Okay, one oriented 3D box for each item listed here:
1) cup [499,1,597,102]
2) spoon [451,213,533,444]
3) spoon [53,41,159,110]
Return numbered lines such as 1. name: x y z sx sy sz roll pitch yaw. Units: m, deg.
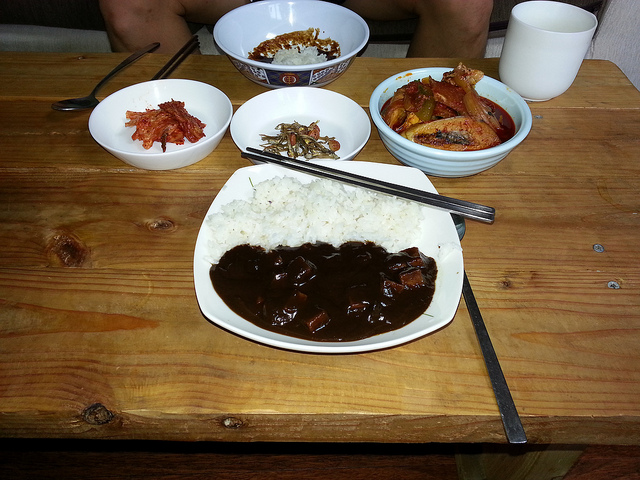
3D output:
1. cup: 0.845 -0.741 2.079 0.306 0.305 0.331 0 59 -1
2. spoon: 0.482 0.257 1.519 0.127 0.045 0.544 -17 71 17
3. spoon: -0.807 -0.690 2.278 0.126 0.068 0.631 28 52 20
